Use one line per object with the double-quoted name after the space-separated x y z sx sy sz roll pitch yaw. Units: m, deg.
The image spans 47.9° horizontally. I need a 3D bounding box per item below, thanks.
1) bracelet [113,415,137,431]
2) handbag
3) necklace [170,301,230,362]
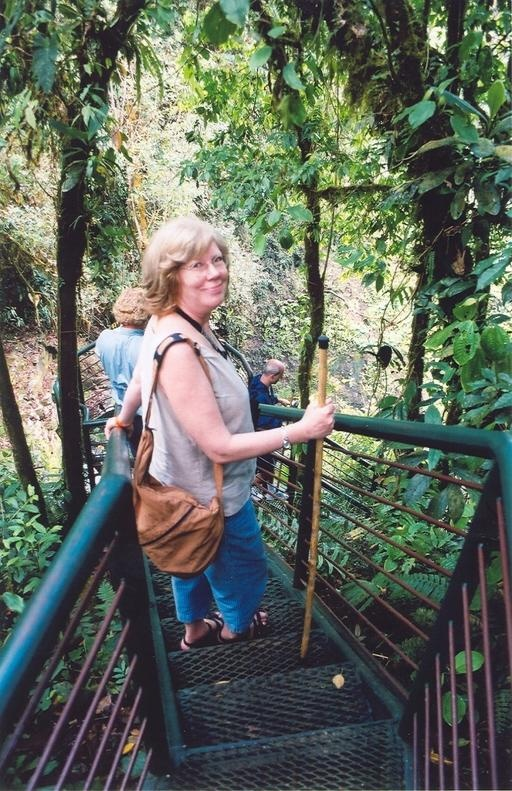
-0.497 0.102 2.139 0.082 0.040 0.109 -2 -20 -6 "bracelet"
-0.222 0.349 1.907 0.375 0.681 0.292 1 0 -10 "handbag"
-0.162 -0.181 1.708 0.040 0.171 0.094 -42 18 -14 "necklace"
